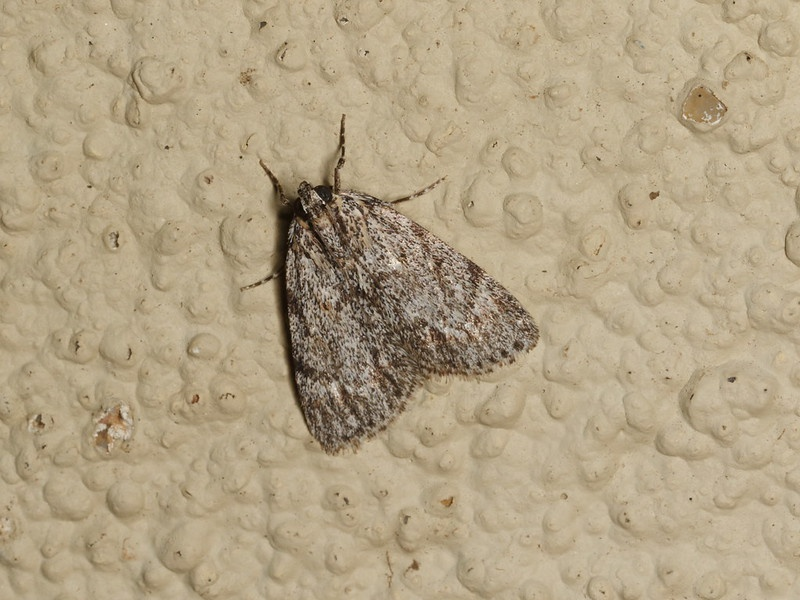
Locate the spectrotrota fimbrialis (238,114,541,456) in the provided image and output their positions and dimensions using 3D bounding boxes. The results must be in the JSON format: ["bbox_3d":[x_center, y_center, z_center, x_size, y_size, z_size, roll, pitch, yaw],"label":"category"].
[{"bbox_3d":[-0.158,-0.052,6.523,1.089,1.297,1.443,-6,-56,-22],"label":"spectrotrota fimbrialis"}]
